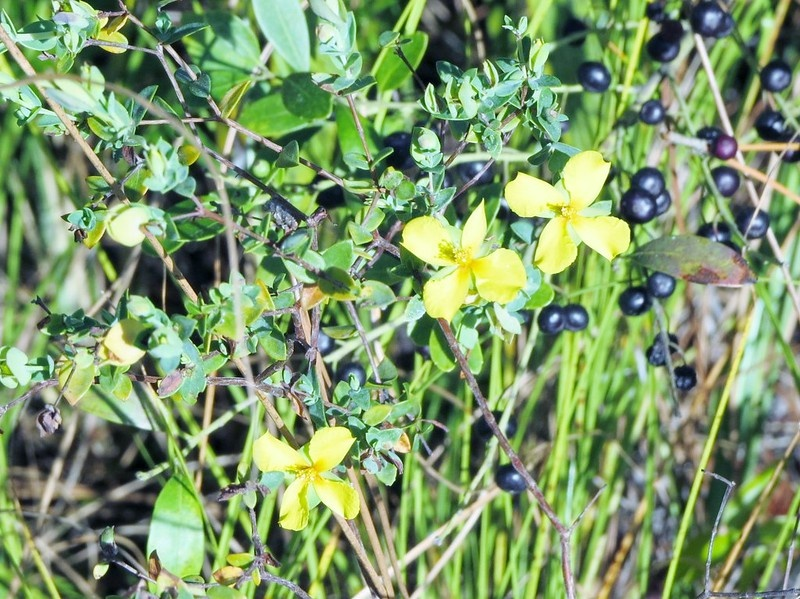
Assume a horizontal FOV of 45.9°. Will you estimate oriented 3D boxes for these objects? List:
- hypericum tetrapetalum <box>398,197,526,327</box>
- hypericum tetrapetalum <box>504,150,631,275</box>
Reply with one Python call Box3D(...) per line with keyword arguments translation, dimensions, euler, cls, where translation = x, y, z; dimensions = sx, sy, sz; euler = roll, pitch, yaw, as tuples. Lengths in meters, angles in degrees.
Box3D(translation=(0.131, -0.095, 1.816), dimensions=(0.183, 0.251, 0.067), euler=(22, 4, -5), cls="hypericum tetrapetalum")
Box3D(translation=(0.341, -0.168, 1.955), dimensions=(0.194, 0.271, 0.067), euler=(17, 4, -3), cls="hypericum tetrapetalum")
